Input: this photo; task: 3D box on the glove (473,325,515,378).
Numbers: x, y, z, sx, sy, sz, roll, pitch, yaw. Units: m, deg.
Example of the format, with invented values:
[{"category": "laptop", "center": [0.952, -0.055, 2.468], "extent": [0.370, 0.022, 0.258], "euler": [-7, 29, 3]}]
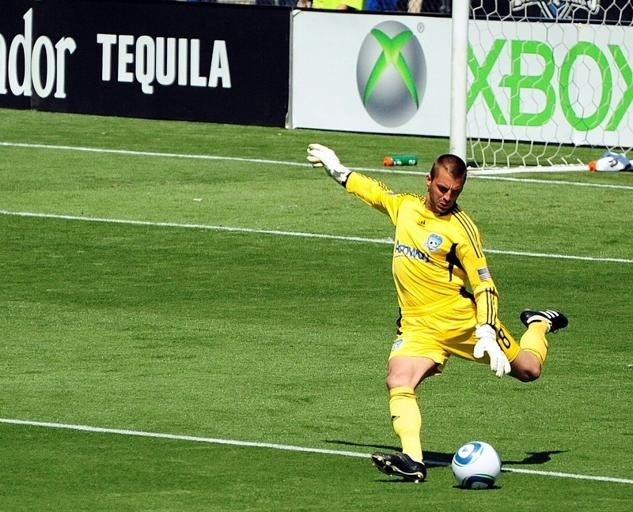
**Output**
[{"category": "glove", "center": [1.308, 0.703, 11.689], "extent": [0.280, 0.372, 0.286], "euler": [1, 6, 11]}]

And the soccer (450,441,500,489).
[{"category": "soccer", "center": [1.168, 1.561, 11.471], "extent": [0.519, 0.176, 0.324], "euler": [7, 16, 1]}]
